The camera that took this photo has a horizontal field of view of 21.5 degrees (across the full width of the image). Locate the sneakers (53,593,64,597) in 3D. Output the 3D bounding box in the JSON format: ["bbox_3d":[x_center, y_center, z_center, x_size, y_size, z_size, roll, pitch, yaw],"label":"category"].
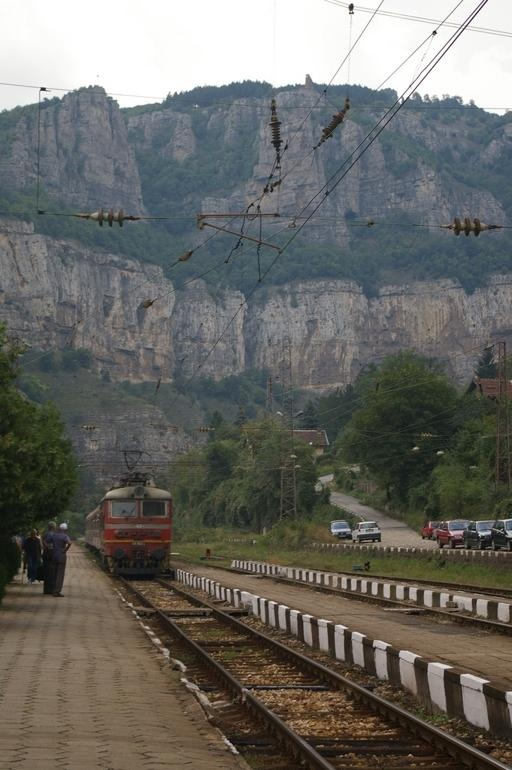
[{"bbox_3d":[-4.150,4.344,28.106,0.221,0.098,0.079,0,-3,-6],"label":"sneakers"}]

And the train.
[{"bbox_3d":[-3.383,4.058,38.121,1.855,2.449,0.807,0,-3,-15],"label":"train"}]
